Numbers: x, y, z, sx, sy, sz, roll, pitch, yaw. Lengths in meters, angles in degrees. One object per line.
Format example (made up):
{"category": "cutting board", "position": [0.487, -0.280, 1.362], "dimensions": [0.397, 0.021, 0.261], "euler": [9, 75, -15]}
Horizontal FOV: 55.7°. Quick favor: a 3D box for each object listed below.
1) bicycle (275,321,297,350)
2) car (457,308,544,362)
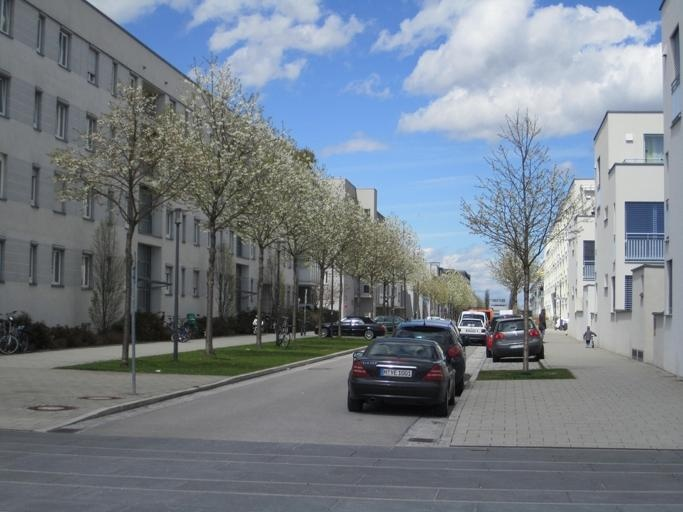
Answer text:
{"category": "bicycle", "position": [-3.186, 4.286, 34.325], "dimensions": [1.117, 1.201, 1.881], "euler": [1, 1, 9]}
{"category": "car", "position": [7.191, 3.601, 27.761], "dimensions": [1.711, 1.494, 3.882], "euler": [-1, 0, 6]}
